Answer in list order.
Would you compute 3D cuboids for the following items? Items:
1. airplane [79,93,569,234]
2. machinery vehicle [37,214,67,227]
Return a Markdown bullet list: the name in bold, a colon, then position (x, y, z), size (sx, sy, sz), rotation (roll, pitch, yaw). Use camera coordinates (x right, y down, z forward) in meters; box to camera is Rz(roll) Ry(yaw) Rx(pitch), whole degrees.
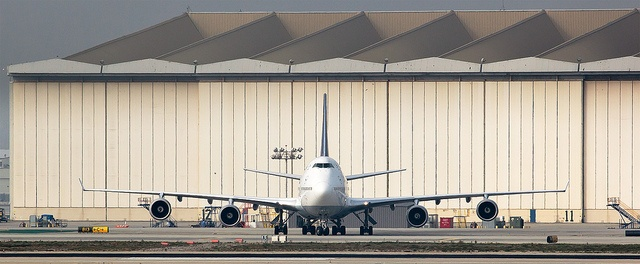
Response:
- **airplane**: position (1.200, 8.894, 268.520), size (94.879, 16.741, 54.301), rotation (-1, -18, 0)
- **machinery vehicle**: position (-55.358, 18.270, 289.239), size (5.214, 1.426, 2.812), rotation (1, -1, 28)
